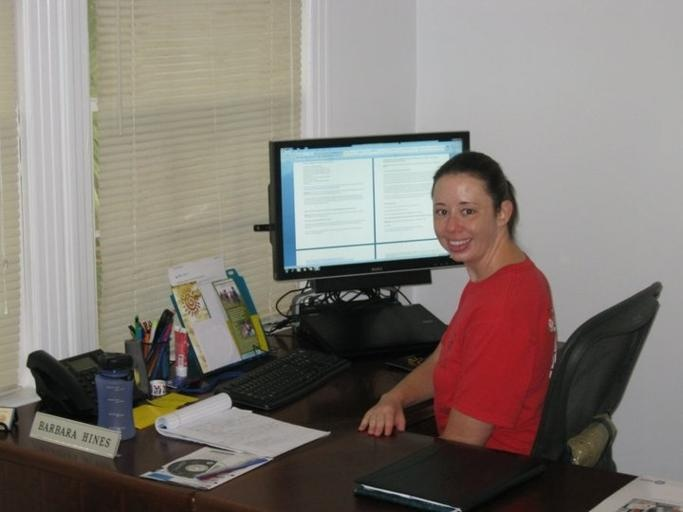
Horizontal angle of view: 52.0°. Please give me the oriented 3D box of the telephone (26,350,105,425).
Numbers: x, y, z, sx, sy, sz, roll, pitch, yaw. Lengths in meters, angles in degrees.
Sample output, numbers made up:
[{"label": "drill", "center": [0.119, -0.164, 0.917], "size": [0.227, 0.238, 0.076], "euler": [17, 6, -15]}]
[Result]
[{"label": "telephone", "center": [-0.682, 0.316, 1.755], "size": [0.172, 0.087, 0.208], "euler": [17, 7, 26]}]

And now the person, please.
[{"label": "person", "center": [0.296, 0.076, 2.253], "size": [0.682, 1.197, 0.745], "euler": [2, 4, 14]}]

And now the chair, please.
[{"label": "chair", "center": [0.540, 0.315, 1.708], "size": [0.286, 0.422, 0.295], "euler": [15, 20, 39]}]

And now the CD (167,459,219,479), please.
[{"label": "CD", "center": [-0.326, 0.450, 1.494], "size": [0.093, 0.006, 0.075], "euler": [2, 10, 19]}]
